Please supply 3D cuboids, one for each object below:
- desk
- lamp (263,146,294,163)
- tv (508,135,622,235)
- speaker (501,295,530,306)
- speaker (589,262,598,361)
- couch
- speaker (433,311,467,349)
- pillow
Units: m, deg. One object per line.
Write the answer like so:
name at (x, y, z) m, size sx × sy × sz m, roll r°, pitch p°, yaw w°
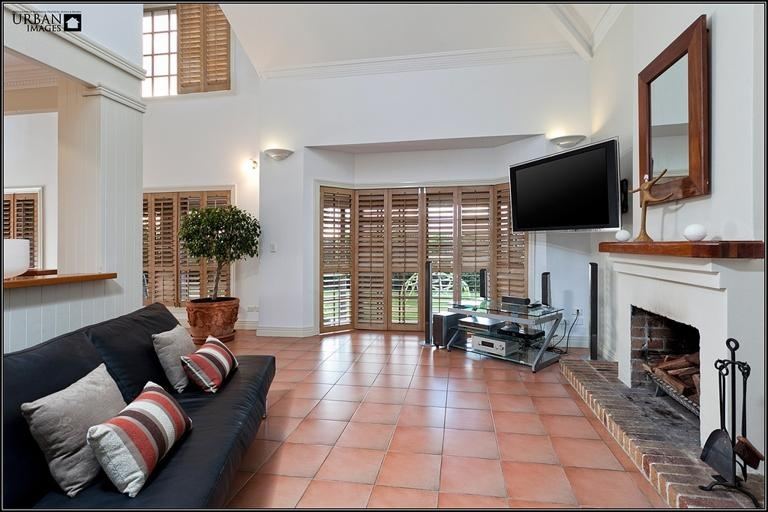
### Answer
desk at (1.386, 0.869, 5.770) m, size 1.274 × 0.726 × 0.717 m, roll 8°, pitch 16°, yaw 32°
lamp at (-1.454, -1.354, 6.670) m, size 0.457 × 0.183 × 0.250 m, roll 1°, pitch 13°, yaw 5°
tv at (1.917, -0.681, 5.449) m, size 0.067 × 0.907 × 1.533 m, roll -6°, pitch 3°, yaw -29°
speaker at (1.504, 0.524, 5.658) m, size 0.357 × 0.120 × 0.119 m, roll 8°, pitch 16°, yaw 34°
speaker at (2.335, 0.617, 5.513) m, size 0.101 × 1.089 × 0.070 m, roll 9°, pitch -14°, yaw -13°
couch at (-1.575, 0.482, 3.334) m, size 1.107 × 1.100 × 2.305 m, roll 0°, pitch 3°, yaw 8°
speaker at (0.824, 0.951, 6.332) m, size 0.447 × 0.433 × 0.218 m, roll -2°, pitch 3°, yaw -42°
pillow at (-1.640, 1.026, 3.378) m, size 0.673 × 0.608 × 1.157 m, roll 4°, pitch 14°, yaw 20°
